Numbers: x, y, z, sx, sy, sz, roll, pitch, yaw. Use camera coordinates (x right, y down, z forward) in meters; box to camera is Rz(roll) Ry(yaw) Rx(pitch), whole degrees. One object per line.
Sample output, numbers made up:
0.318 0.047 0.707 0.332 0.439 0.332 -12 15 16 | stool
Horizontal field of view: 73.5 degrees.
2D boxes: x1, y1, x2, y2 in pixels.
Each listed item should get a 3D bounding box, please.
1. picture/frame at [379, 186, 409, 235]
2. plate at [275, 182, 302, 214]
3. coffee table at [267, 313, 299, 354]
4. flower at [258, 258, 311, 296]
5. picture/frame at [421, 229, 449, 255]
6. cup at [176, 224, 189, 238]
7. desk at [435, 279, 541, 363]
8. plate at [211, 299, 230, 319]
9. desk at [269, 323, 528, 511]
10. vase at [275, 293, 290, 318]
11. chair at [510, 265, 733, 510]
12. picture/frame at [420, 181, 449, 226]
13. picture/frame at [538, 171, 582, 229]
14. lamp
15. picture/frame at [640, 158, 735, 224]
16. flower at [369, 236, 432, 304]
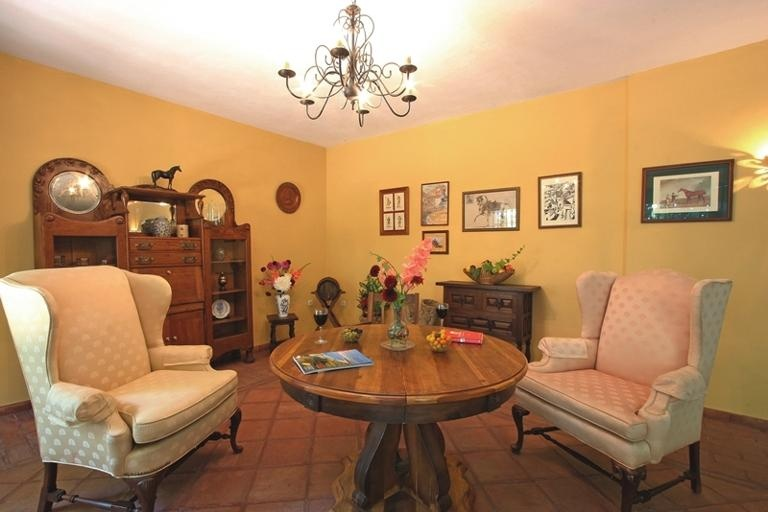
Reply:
0.144 -0.614 6.864 0.680 0.877 0.063 2 2 40 | picture/frame
-1.324 -0.797 7.060 0.088 0.431 0.432 5 7 33 | plate
-1.380 1.003 6.735 0.509 0.506 0.503 -1 2 -24 | coffee table
-1.322 0.288 6.821 0.496 0.472 0.744 4 6 25 | flower
0.610 -0.162 5.936 0.417 0.382 0.033 2 4 35 | picture/frame
-2.290 -0.281 5.810 0.152 0.160 0.143 0 4 0 | cup
1.104 0.655 5.191 0.926 0.837 0.342 -2 -5 29 | desk
-1.968 0.641 6.179 0.048 0.199 0.206 -8 -11 40 | plate
0.122 1.312 4.049 1.454 0.866 1.432 1 -3 -12 | desk
-1.312 0.619 6.602 0.157 0.299 0.222 -1 7 -15 | vase
1.932 0.992 4.277 1.002 1.741 1.227 -5 9 -41 | chair
0.653 -0.667 6.515 0.576 0.768 0.031 2 4 38 | picture/frame
1.967 -0.622 5.680 0.649 0.831 0.054 2 5 30 | picture/frame
-0.471 -1.783 5.010 1.145 1.128 1.281 4 -2 13 | lamp
3.045 -0.646 5.083 0.710 0.548 0.030 1 2 26 | picture/frame
0.148 0.124 4.418 0.629 0.709 0.545 3 2 -2 | flower
